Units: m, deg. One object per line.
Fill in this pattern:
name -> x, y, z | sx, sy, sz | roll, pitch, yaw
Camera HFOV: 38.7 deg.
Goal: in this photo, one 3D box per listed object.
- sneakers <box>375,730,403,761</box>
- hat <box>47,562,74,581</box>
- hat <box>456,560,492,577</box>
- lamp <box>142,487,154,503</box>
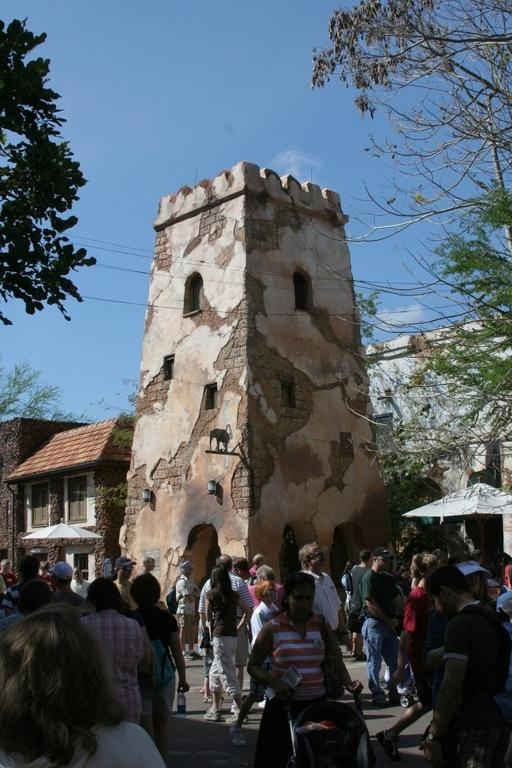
sneakers -> 1.134, 3.058, 6.212 | 0.140, 0.304, 0.117 | -38, -20, 3
hat -> -1.579, 1.560, 6.011 | 0.160, 0.119, 0.231 | -3, 12, -40
hat -> 1.430, 1.235, 4.779 | 0.181, 0.125, 0.557 | -5, -9, 16
lamp -> -2.778, 2.920, 18.968 | 0.377, 0.505, 0.358 | 4, -9, -17
